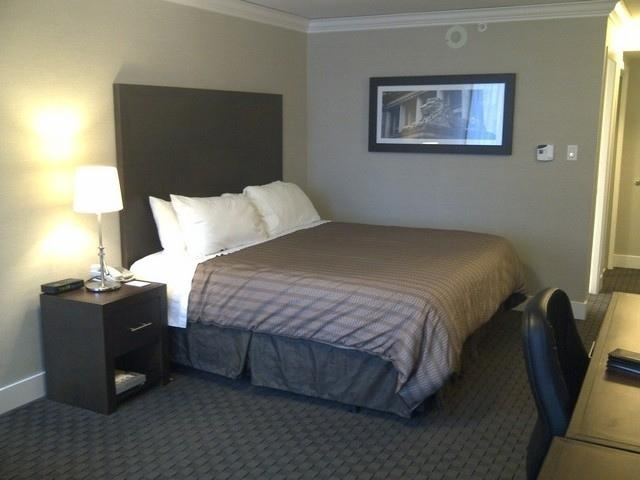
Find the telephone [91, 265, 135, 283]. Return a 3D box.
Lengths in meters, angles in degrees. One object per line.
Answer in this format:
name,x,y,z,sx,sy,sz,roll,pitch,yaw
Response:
telephone,-1.534,0.254,3.571,0.226,0.080,0.184,0,12,6

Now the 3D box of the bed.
bed,0.111,0.479,3.423,1.636,0.486,1.714,7,17,28

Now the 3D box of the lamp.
lamp,-1.589,-0.112,3.468,0.300,0.843,0.530,-8,16,-31
